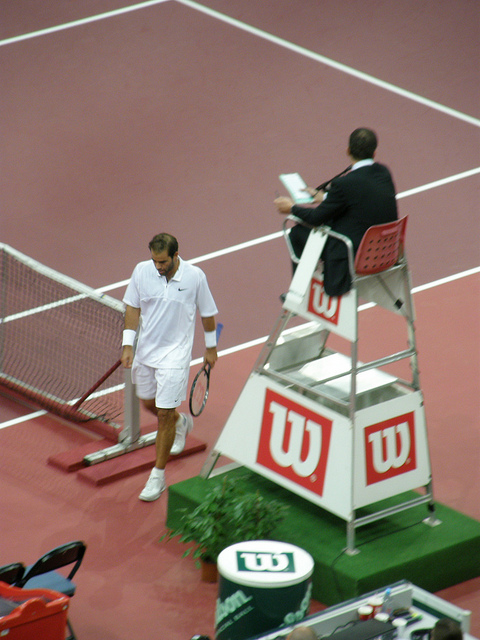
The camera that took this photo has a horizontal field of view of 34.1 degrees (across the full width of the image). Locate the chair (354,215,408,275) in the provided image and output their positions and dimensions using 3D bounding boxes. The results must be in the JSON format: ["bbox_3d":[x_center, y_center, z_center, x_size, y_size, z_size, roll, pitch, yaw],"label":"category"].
[{"bbox_3d":[0.794,-0.465,4.681,0.274,0.289,0.465,20,33,38],"label":"chair"}]

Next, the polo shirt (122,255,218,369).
[{"bbox_3d":[-0.550,-0.039,5.735,0.662,0.759,0.556,1,-27,8],"label":"polo shirt"}]

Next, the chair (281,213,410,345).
[{"bbox_3d":[0.652,-0.320,4.975,0.818,0.608,0.662,-15,24,-40],"label":"chair"}]

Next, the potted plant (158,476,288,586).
[{"bbox_3d":[-0.164,1.309,4.946,0.804,0.567,0.685,5,-2,-21],"label":"potted plant"}]
